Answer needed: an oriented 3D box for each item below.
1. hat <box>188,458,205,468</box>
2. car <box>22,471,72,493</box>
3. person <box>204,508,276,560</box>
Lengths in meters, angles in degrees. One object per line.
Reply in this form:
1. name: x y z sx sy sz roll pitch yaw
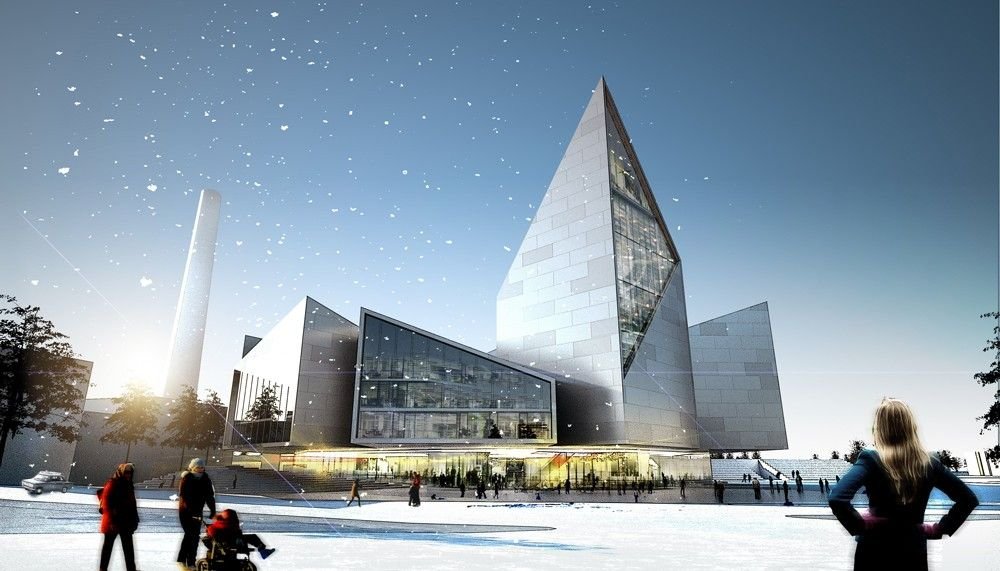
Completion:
1. hat: -7.791 4.515 13.748 0.430 0.206 0.389 -4 -19 -7
2. car: -28.693 12.496 34.234 2.055 1.289 3.721 8 -18 -28
3. person: -6.612 6.178 13.551 2.215 0.997 1.164 19 -24 -22
